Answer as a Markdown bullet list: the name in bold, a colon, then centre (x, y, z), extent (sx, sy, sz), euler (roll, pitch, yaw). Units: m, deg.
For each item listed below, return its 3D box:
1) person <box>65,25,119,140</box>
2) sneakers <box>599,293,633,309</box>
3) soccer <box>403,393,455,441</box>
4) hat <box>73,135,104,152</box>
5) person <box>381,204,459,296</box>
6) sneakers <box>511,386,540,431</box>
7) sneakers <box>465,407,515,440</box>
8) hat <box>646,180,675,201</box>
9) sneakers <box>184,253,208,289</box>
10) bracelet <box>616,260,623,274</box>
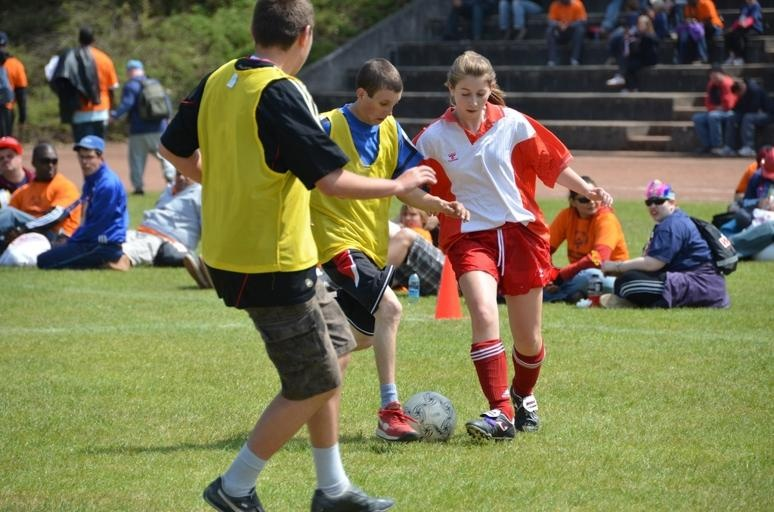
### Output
- **person**: centre (-4.669, -2.693, 19.994), extent (0.701, 1.768, 1.538), euler (0, 6, -13)
- **sneakers**: centre (2.619, 0.542, 14.580), extent (0.256, 0.095, 0.190), euler (21, -5, -1)
- **soccer**: centre (0.355, 1.442, 11.638), extent (0.473, 0.410, 0.413), euler (-5, 2, -9)
- **hat**: centre (-3.772, -1.421, 16.045), extent (0.281, 0.205, 0.409), euler (2, -4, 24)
- **person**: centre (0.305, 0.006, 15.198), extent (0.632, 1.115, 0.451), euler (4, 19, 0)
- **sneakers**: centre (1.255, 1.415, 11.578), extent (0.143, 0.178, 0.426), euler (-7, 51, -2)
- **sneakers**: centre (0.917, 1.519, 11.311), extent (0.487, 0.278, 0.139), euler (-2, 7, -26)
- **hat**: centre (3.091, -0.752, 14.384), extent (0.230, 0.278, 0.316), euler (-2, -10, 13)
- **sneakers**: centre (-2.279, 0.193, 14.911), extent (0.145, 0.440, 0.176), euler (-30, 7, 16)
- **bracelet**: centre (2.651, 0.128, 14.493), extent (0.080, 0.115, 0.122), euler (-5, 34, 8)
